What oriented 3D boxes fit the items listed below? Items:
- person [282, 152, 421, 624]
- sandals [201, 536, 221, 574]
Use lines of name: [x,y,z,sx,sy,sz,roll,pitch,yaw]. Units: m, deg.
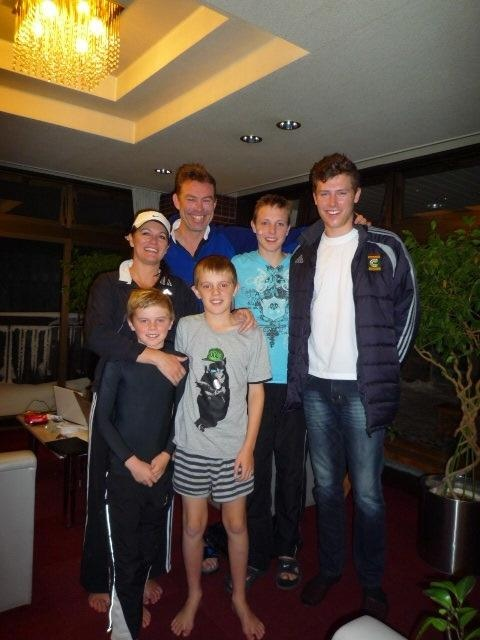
person: [0.428,0.271,1.974,0.532,1.922,0.280,4,4,36]
sandals: [-0.142,1.128,2.242,0.072,0.217,0.145,1,36,-7]
